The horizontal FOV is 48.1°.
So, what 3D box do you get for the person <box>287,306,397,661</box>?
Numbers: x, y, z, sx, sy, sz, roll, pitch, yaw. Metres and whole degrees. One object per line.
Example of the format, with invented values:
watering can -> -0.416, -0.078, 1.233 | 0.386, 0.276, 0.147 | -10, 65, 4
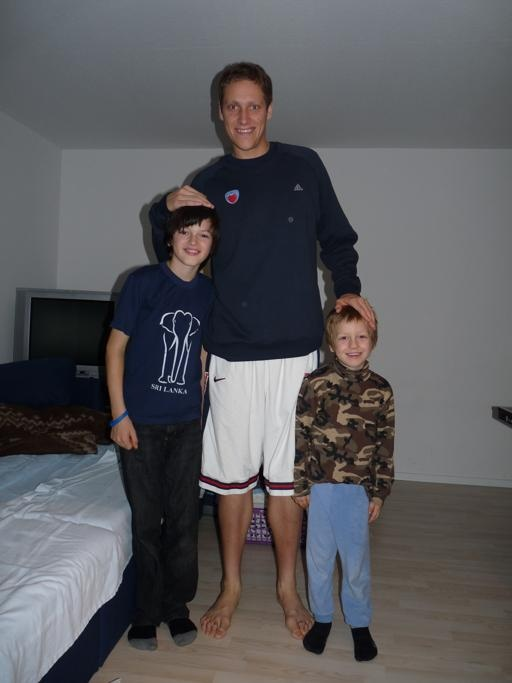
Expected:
person -> 0.263, 0.420, 1.738 | 0.293, 1.044, 0.148 | 3, 2, 14
